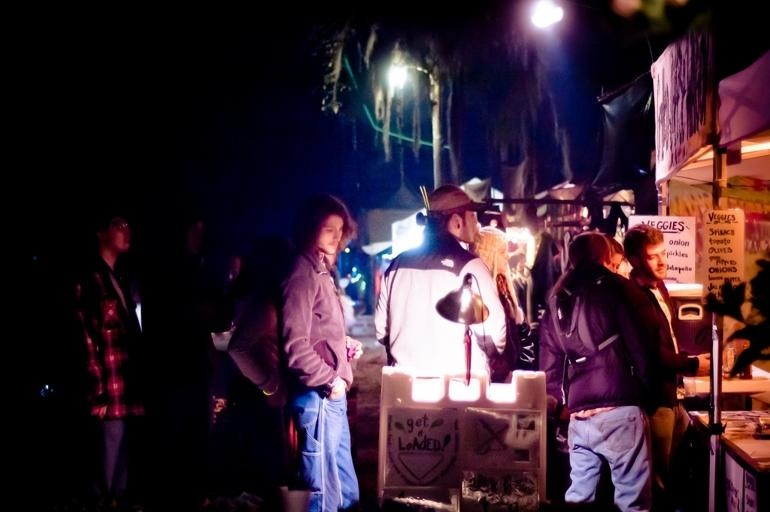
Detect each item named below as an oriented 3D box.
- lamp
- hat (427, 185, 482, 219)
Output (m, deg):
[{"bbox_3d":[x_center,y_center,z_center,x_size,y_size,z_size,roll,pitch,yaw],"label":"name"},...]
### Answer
[{"bbox_3d":[0.894,0.851,8.145,0.649,1.569,0.671,-10,29,-26],"label":"lamp"},{"bbox_3d":[0.800,-0.683,8.344,0.489,0.277,0.323,-14,9,-7],"label":"hat"}]
